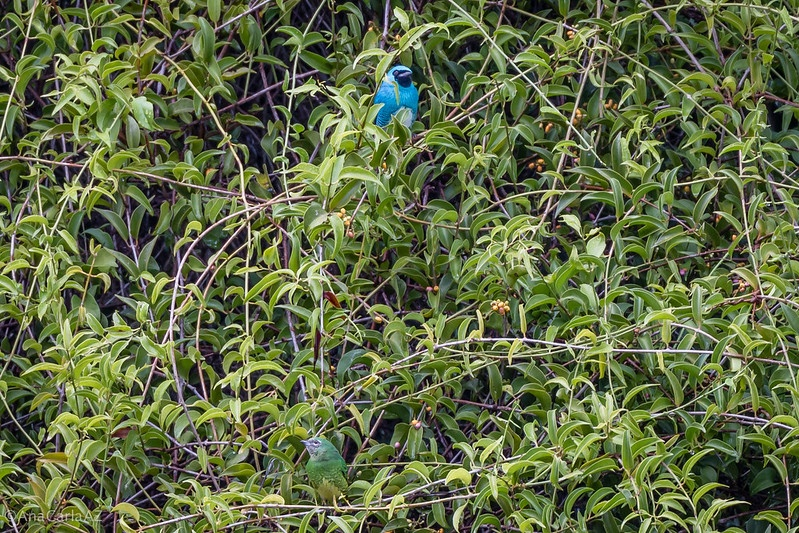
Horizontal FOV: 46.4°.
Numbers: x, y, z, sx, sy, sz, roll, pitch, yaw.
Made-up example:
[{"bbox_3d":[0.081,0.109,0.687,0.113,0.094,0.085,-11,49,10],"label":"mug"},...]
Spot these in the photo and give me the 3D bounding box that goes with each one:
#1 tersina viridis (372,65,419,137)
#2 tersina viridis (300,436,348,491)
[{"bbox_3d":[-0.054,-0.641,3.596,0.164,0.229,0.289,0,82,-32],"label":"tersina viridis"},{"bbox_3d":[-0.251,0.666,3.143,0.171,0.114,0.207,6,74,-43],"label":"tersina viridis"}]
